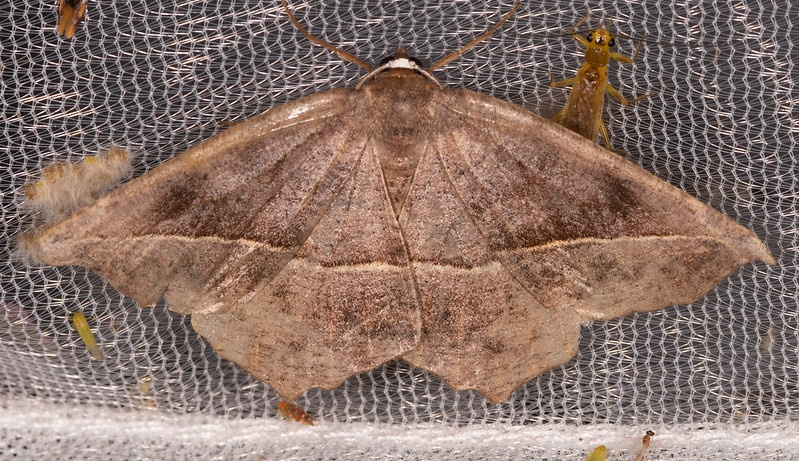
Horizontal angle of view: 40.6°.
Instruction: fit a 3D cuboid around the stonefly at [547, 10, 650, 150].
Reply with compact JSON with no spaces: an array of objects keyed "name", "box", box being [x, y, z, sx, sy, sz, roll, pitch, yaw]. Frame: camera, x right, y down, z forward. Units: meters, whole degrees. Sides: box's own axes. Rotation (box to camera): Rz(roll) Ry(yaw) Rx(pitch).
[{"name":"stonefly","box":[0.771,-0.582,4.292,0.580,0.198,0.472,15,-78,7]}]
